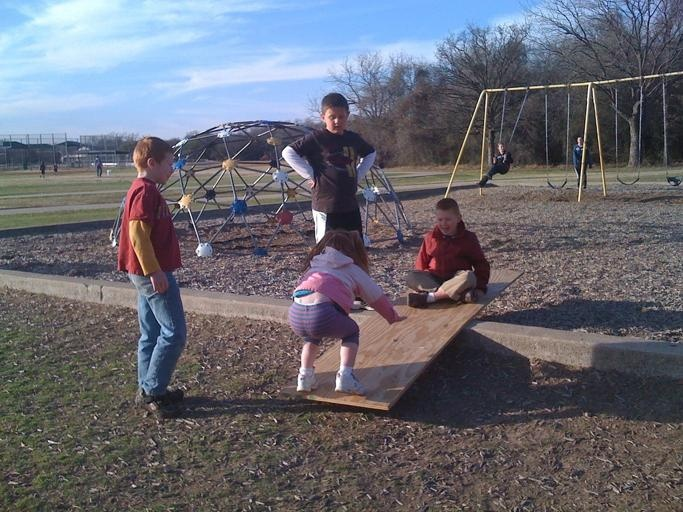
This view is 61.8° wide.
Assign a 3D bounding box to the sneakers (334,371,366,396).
[{"bbox_3d":[0.041,0.818,3.689,0.216,0.138,0.102,-2,12,-21],"label":"sneakers"}]

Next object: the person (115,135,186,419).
[{"bbox_3d":[-1.244,0.118,3.745,0.413,1.769,0.620,-6,10,-18],"label":"person"}]

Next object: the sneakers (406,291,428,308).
[{"bbox_3d":[0.637,0.375,4.932,0.149,0.131,0.119,-20,-26,26],"label":"sneakers"}]

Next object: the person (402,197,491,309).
[{"bbox_3d":[0.974,-0.075,5.187,0.942,1.123,0.899,0,2,28],"label":"person"}]

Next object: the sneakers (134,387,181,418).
[{"bbox_3d":[-1.258,0.983,3.754,0.368,0.126,0.171,-4,0,-23],"label":"sneakers"}]

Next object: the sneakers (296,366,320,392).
[{"bbox_3d":[-0.249,0.813,3.797,0.137,0.164,0.094,-1,10,8],"label":"sneakers"}]

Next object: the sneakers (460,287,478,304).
[{"bbox_3d":[1.092,0.335,4.860,0.082,0.080,0.172,0,-8,-31],"label":"sneakers"}]
